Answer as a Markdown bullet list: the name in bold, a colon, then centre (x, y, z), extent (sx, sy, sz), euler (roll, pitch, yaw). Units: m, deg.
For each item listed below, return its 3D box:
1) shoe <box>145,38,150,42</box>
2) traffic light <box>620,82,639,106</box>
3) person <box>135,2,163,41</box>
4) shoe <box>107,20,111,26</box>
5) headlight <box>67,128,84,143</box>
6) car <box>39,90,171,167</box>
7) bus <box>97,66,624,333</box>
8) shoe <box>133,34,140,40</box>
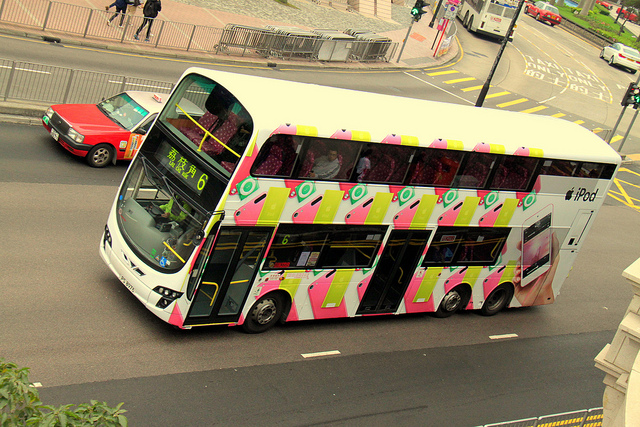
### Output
- **shoe**: centre (-9.175, -9.252, 29.447), extent (0.070, 0.170, 0.263), euler (20, 19, 26)
- **traffic light**: centre (18.223, -6.996, 32.510), extent (0.654, 1.280, 1.068), euler (19, 19, 25)
- **person**: centre (-8.925, -10.068, 28.854), extent (1.044, 2.049, 0.908), euler (4, 18, -21)
- **shoe**: centre (-10.664, -9.677, 27.965), extent (0.082, 0.286, 0.300), euler (5, 19, -18)
- **headlight**: centre (-7.572, -2.421, 17.293), extent (0.473, 0.180, 0.365), euler (41, 18, -6)
- **car**: centre (-6.937, -2.611, 18.340), extent (4.701, 1.642, 2.536), euler (-9, 38, -38)
- **bus**: centre (1.771, -0.216, 15.083), extent (14.196, 6.177, 2.738), euler (3, 19, -27)
- **shoe**: centre (-9.635, -9.327, 29.047), extent (0.227, 0.350, 0.108), euler (2, 6, 3)
